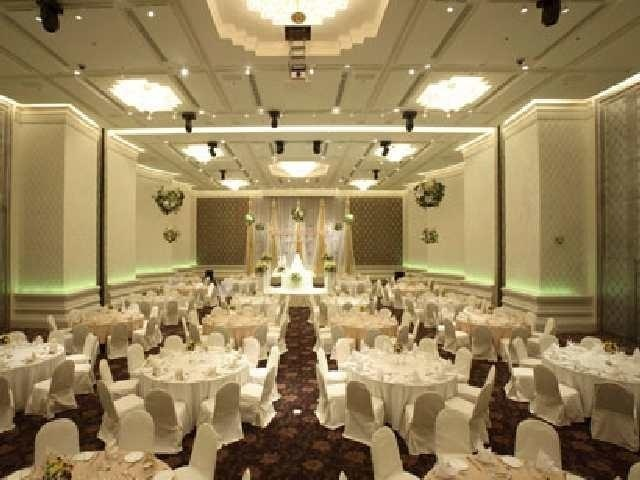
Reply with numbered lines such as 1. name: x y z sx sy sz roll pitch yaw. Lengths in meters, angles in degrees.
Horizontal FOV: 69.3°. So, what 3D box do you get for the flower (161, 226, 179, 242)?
1. flower: -5.624 -0.229 17.519 0.420 0.511 0.525 -1 -3 -5
